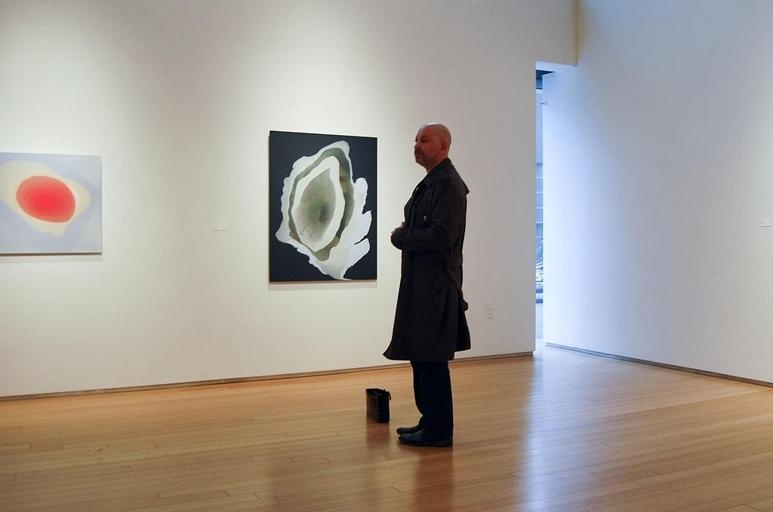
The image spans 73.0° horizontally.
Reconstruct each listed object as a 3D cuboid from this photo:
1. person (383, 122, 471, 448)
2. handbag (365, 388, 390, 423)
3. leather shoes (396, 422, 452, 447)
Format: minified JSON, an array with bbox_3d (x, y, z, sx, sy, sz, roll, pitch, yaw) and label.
[{"bbox_3d":[0.330,0.228,4.102,0.624,2.530,0.392,1,4,9],"label":"person"},{"bbox_3d":[-0.042,1.357,4.716,0.175,0.244,0.340,-2,-6,-9],"label":"handbag"},{"bbox_3d":[0.301,1.438,4.144,0.300,0.126,0.192,5,-6,7],"label":"leather shoes"}]
